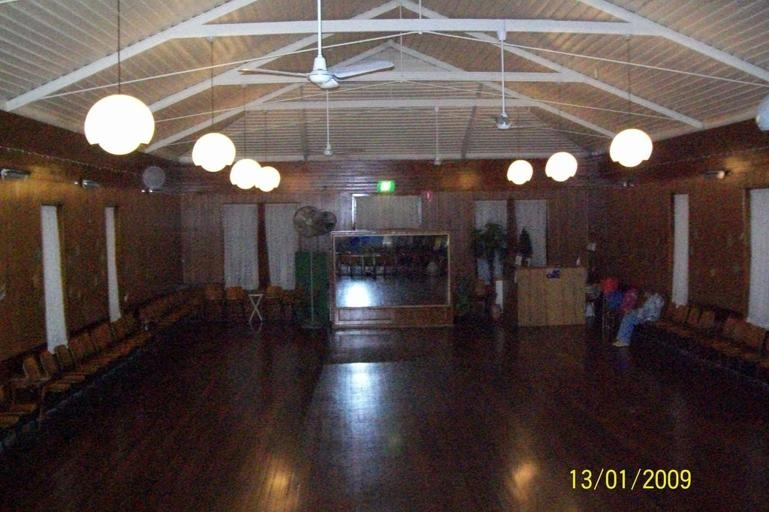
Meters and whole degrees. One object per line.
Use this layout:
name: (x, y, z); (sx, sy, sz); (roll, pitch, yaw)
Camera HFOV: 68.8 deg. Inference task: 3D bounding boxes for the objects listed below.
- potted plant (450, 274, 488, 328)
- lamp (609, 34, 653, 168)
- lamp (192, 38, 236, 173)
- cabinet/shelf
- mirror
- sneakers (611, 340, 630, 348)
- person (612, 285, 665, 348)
potted plant: (2.391, 1.262, 15.829); (0.973, 1.309, 1.347); (-1, 0, 7)
lamp: (4.811, -2.952, 10.759); (0.613, 2.223, 4.472); (5, 14, 24)
lamp: (-3.428, -2.859, 10.831); (0.666, 2.304, 4.387); (-5, 14, -18)
cabinet/shelf: (4.259, 0.839, 14.643); (1.700, 1.497, 0.941); (-3, 14, 5)
mirror: (0.420, 0.544, 14.863); (3.238, 2.200, 1.860); (-1, -5, 18)
sneakers: (5.239, 1.946, 12.463); (0.291, 0.120, 0.166); (4, -4, -7)
person: (5.907, 1.318, 13.014); (0.899, 1.593, 0.635); (9, 7, 9)
